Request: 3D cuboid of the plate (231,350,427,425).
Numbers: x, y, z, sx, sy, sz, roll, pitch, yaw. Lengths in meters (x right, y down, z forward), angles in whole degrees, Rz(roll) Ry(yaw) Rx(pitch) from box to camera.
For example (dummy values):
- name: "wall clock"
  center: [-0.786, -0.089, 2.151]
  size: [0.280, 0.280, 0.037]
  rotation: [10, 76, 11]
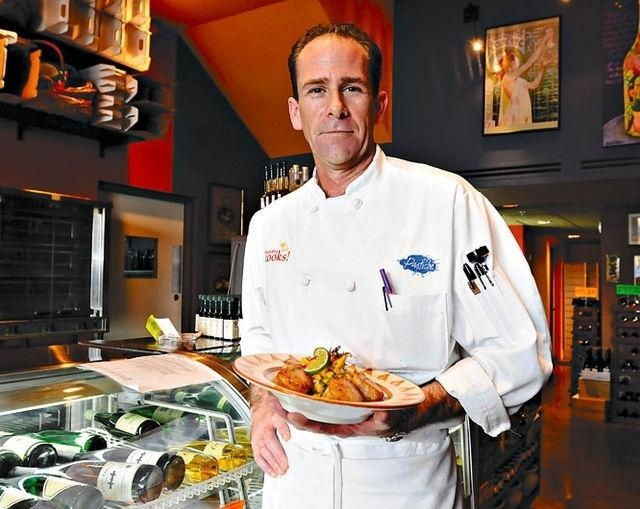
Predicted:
- name: "plate"
  center: [0.051, 0.341, 1.214]
  size: [0.255, 0.059, 0.255]
  rotation: [12, 6, -21]

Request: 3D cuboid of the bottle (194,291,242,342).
- name: "bottle"
  center: [-0.740, 0.450, 3.674]
  size: [0.188, 0.319, 0.487]
  rotation: [2, -6, -43]

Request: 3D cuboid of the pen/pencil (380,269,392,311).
- name: "pen/pencil"
  center: [0.189, 0.098, 1.439]
  size: [0.022, 0.114, 0.019]
  rotation: [7, -22, -38]
